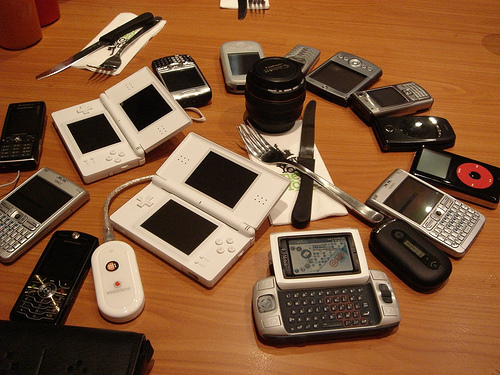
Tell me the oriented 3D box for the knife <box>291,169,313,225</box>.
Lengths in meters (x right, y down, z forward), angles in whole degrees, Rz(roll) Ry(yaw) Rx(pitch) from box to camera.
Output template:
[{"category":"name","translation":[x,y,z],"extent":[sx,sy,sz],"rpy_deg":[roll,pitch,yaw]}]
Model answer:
[{"category":"knife","translation":[0.135,0.025,0.988],"extent":[0.043,0.022,0.231],"rpy_deg":[13,31,6]}]

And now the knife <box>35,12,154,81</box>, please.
[{"category":"knife","translation":[-0.496,-0.442,1.258],"extent":[0.444,0.038,0.058],"rpy_deg":[-35,62,-15]}]

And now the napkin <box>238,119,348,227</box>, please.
[{"category":"napkin","translation":[0.131,-0.026,1.005],"extent":[0.170,0.037,0.314],"rpy_deg":[-14,59,-11]}]

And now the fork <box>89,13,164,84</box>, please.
[{"category":"fork","translation":[-0.388,-0.433,1.250],"extent":[0.045,0.044,0.377],"rpy_deg":[33,62,6]}]

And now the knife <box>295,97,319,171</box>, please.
[{"category":"knife","translation":[0.157,-0.151,1.073],"extent":[0.038,0.024,0.295],"rpy_deg":[5,45,12]}]
